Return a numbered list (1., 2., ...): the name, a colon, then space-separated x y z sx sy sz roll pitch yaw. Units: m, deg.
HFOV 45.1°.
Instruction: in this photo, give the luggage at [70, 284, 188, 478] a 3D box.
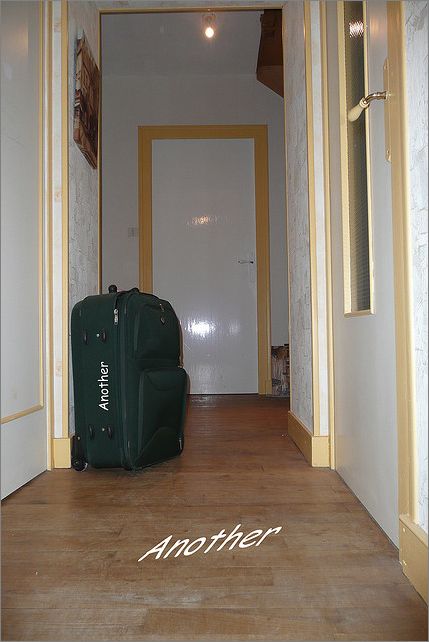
1. luggage: -0.281 0.199 1.776 0.279 0.602 0.374 -4 -5 27
